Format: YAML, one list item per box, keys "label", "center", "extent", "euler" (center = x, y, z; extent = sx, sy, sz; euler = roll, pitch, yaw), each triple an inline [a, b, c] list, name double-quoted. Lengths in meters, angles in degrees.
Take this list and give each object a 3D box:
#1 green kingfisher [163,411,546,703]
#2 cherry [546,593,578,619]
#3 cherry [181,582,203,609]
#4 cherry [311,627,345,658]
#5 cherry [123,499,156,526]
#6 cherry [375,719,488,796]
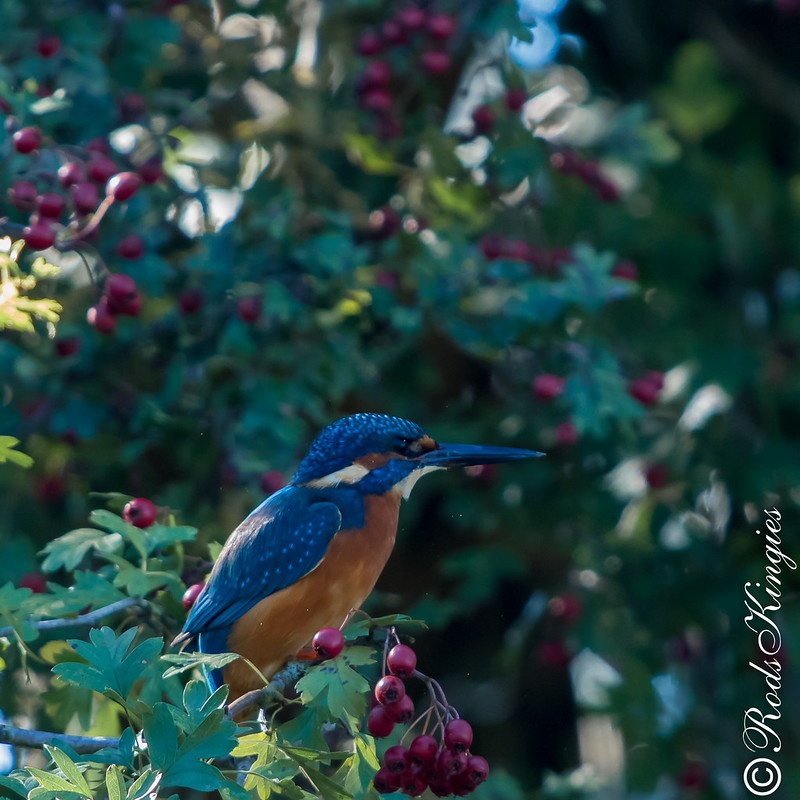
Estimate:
- label: "green kingfisher"
  center: [-0.195, 0.368, 3.928]
  extent: [1.253, 0.469, 0.896]
  euler: [2, 90, -16]
- label: "cherry"
  center: [0.529, 0.664, 4.913]
  extent: [0.114, 0.090, 0.061]
  euler: [20, 58, 21]
- label: "cherry"
  center: [-0.517, 0.504, 3.961]
  extent: [0.023, 0.039, 0.069]
  euler: [24, 78, 41]
- label: "cherry"
  center: [-0.157, 0.561, 3.541]
  extent: [0.067, 0.066, 0.075]
  euler: [4, 94, 13]
- label: "cherry"
  center: [-0.662, 0.291, 3.969]
  extent: [0.085, 0.070, 0.072]
  euler: [3, 88, -34]
- label: "cherry"
  center: [0.080, 0.862, 3.634]
  extent: [0.211, 0.209, 0.080]
  euler: [32, 32, -15]
